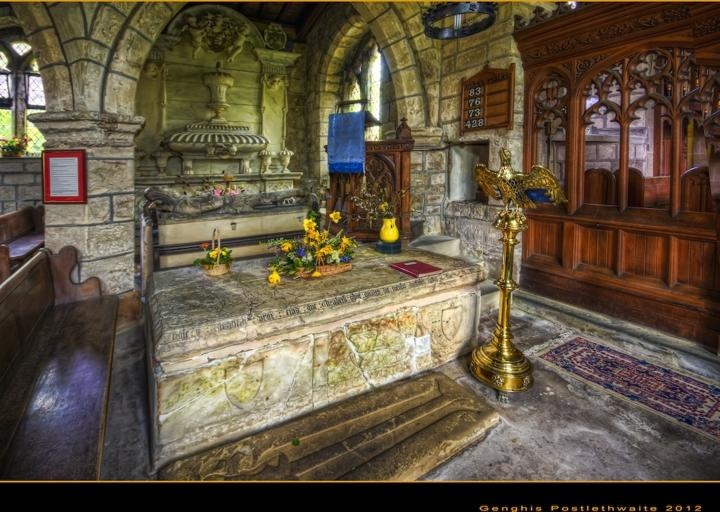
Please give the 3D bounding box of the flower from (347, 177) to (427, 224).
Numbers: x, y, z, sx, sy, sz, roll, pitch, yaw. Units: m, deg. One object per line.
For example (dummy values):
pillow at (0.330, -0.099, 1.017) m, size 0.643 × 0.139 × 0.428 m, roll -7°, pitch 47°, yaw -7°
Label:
flower at (0.307, -0.689, 5.010) m, size 0.828 × 0.313 × 0.493 m, roll 4°, pitch 0°, yaw -39°

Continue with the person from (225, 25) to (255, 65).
person at (-2.627, -4.602, 8.449) m, size 0.616 × 0.773 × 0.315 m, roll -6°, pitch 13°, yaw -20°

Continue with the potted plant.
potted plant at (-0.397, -0.125, 3.321) m, size 0.929 × 0.488 × 0.659 m, roll -5°, pitch 8°, yaw -44°

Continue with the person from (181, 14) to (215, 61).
person at (-3.342, -4.527, 8.082) m, size 0.463 × 0.757 × 0.230 m, roll -6°, pitch 13°, yaw -19°

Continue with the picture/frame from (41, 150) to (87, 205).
picture/frame at (-2.966, -0.805, 3.967) m, size 0.647 × 0.702 × 0.056 m, roll 0°, pitch 2°, yaw 2°

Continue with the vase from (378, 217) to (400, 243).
vase at (0.291, -0.263, 3.844) m, size 0.162 × 0.245 × 0.214 m, roll 0°, pitch 12°, yaw 10°
